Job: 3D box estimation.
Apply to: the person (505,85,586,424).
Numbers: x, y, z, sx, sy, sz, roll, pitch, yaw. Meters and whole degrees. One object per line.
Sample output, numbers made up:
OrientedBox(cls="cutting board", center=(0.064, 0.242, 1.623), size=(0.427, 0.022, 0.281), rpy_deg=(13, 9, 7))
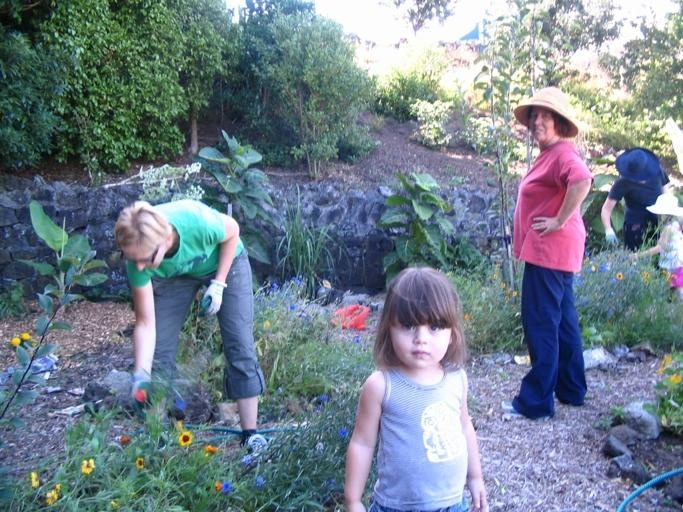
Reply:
OrientedBox(cls="person", center=(1.792, -0.020, 5.119), size=(0.717, 2.853, 0.523), rpy_deg=(5, 6, 19))

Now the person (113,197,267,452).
OrientedBox(cls="person", center=(-1.152, 0.573, 4.463), size=(0.961, 2.037, 1.166), rpy_deg=(7, 15, 37))

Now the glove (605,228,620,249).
OrientedBox(cls="glove", center=(3.456, -0.229, 7.685), size=(0.188, 0.308, 0.081), rpy_deg=(5, -10, -45))

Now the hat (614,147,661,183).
OrientedBox(cls="hat", center=(3.692, -1.136, 7.407), size=(0.534, 0.428, 0.347), rpy_deg=(6, 6, 21))

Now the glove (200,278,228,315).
OrientedBox(cls="glove", center=(-0.961, 0.290, 4.379), size=(0.157, 0.258, 0.133), rpy_deg=(23, 1, -45))
